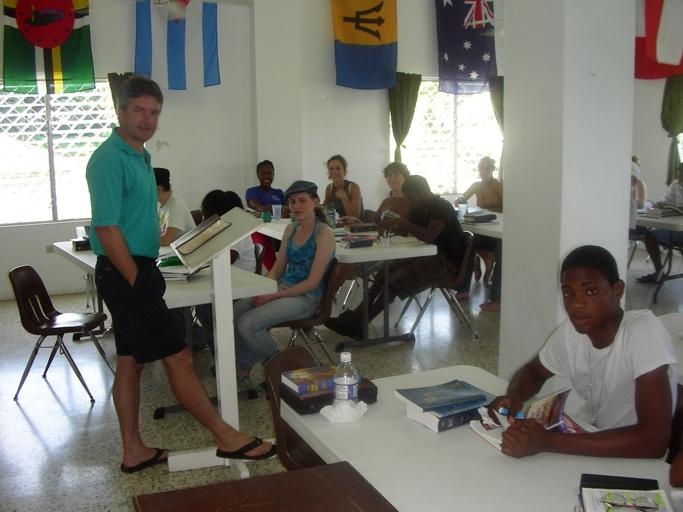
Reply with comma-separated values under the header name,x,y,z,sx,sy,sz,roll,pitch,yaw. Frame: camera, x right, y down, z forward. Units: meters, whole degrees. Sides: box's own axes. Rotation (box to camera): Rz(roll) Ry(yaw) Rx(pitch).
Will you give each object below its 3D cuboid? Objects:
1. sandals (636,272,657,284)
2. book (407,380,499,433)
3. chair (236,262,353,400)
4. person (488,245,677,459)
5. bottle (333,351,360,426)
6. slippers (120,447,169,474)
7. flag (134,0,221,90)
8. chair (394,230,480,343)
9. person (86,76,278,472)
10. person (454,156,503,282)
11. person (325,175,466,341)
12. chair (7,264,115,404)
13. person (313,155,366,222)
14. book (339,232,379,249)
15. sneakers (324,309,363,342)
name,x,y,z,sx,sy,sz,roll,pitch,yaw
sandals,3.720,0.262,6.769,0.094,0.179,0.245,-6,10,-41
book,0.363,0.500,1.887,0.170,0.049,0.164,-10,18,-30
chair,-0.176,0.487,4.613,0.850,1.145,0.786,3,2,-31
person,0.806,0.285,1.995,0.716,0.674,0.635,-2,0,-35
bottle,0.015,0.450,1.930,0.090,0.240,0.092,0,9,0
slippers,-1.074,1.121,3.082,0.279,0.090,0.111,-9,12,-38
flag,-2.053,-2.591,6.860,1.038,1.050,0.233,-5,12,-17
chair,0.861,0.189,5.211,0.781,0.920,0.734,9,29,16
person,-0.841,0.106,2.934,0.940,2.040,0.659,0,2,10
person,1.786,-0.450,7.018,0.749,1.564,0.544,-3,8,-29
person,0.535,-0.037,5.164,1.278,1.481,0.713,-6,11,-15
chair,-2.268,0.666,4.452,0.765,1.130,0.714,1,12,-5
person,-0.031,-0.795,6.855,0.530,0.881,0.542,7,20,28
book,0.116,-0.134,4.774,0.278,0.079,0.387,-3,12,-9
sneakers,0.030,0.604,4.967,0.298,0.115,0.222,-9,20,-39
